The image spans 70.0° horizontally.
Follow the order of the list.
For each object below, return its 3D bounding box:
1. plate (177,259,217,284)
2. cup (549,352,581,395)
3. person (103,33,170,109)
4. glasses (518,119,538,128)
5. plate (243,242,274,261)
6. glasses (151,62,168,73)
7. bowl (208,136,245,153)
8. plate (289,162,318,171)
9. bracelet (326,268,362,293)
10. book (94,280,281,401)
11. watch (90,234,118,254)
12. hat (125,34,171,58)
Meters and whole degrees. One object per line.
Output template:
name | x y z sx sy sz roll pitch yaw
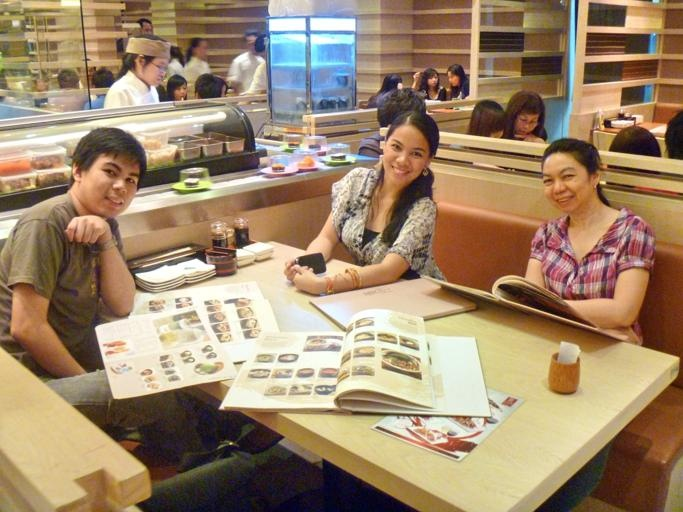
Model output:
plate | -0.609 0.054 2.020 0.105 0.033 0.103 -16 33 -32
cup | 0.585 0.318 1.280 0.093 0.095 0.101 1 6 0
person | -1.990 -1.748 4.803 0.531 0.798 0.867 9 22 -10
glasses | 1.570 -1.122 4.079 0.092 0.113 0.053 8 36 0
plate | -0.388 -0.030 2.241 0.086 0.035 0.100 -12 21 -39
glasses | -1.792 -1.837 4.738 0.029 0.094 0.093 16 12 30
bowl | -0.626 -0.637 2.755 0.099 0.047 0.144 -15 28 -37
plate | -0.228 -0.535 2.910 0.094 0.036 0.096 6 16 36
bracelet | 0.002 0.094 1.929 0.096 0.045 0.111 -3 5 38
book | -0.481 0.269 1.497 0.351 0.048 0.375 -8 27 -20
watch | -0.838 -0.041 1.726 0.069 0.045 0.072 -6 47 -4
hat | -1.883 -2.021 4.693 0.287 0.134 0.283 -9 28 -34
